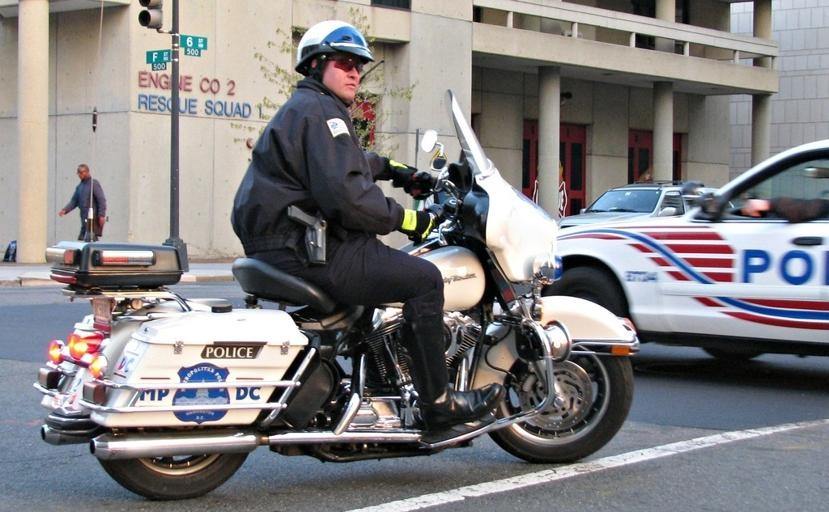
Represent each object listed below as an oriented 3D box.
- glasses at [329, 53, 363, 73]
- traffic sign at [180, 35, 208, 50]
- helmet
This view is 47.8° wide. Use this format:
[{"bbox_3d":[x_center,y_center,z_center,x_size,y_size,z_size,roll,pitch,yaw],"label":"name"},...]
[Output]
[{"bbox_3d":[-0.566,-1.632,7.926,0.179,0.056,0.178,10,10,-40],"label":"glasses"},{"bbox_3d":[-5.155,-5.008,21.964,0.512,0.353,1.285,-2,9,-15],"label":"traffic sign"},{"bbox_3d":[-0.710,-1.806,8.073,0.630,0.337,0.431,-7,1,7],"label":"helmet"}]
